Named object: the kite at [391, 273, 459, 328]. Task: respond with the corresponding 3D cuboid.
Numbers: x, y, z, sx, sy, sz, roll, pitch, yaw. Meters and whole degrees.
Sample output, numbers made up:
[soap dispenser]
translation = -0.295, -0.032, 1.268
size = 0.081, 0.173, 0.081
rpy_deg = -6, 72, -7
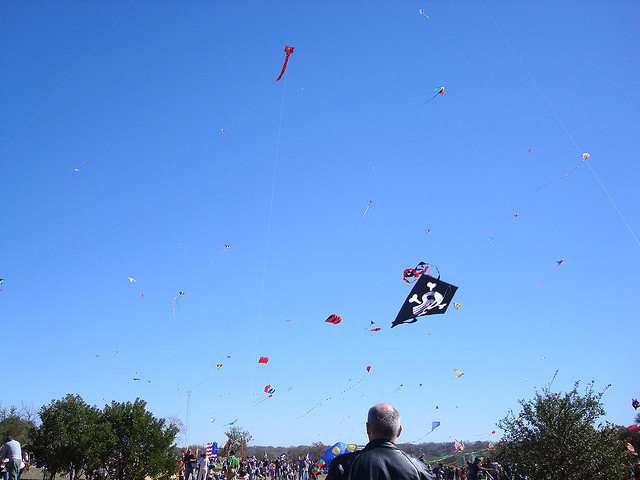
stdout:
[kite]
translation = 3.974, 1.841, 18.918
size = 2.357, 3.046, 0.121
rpy_deg = -21, -69, 41
